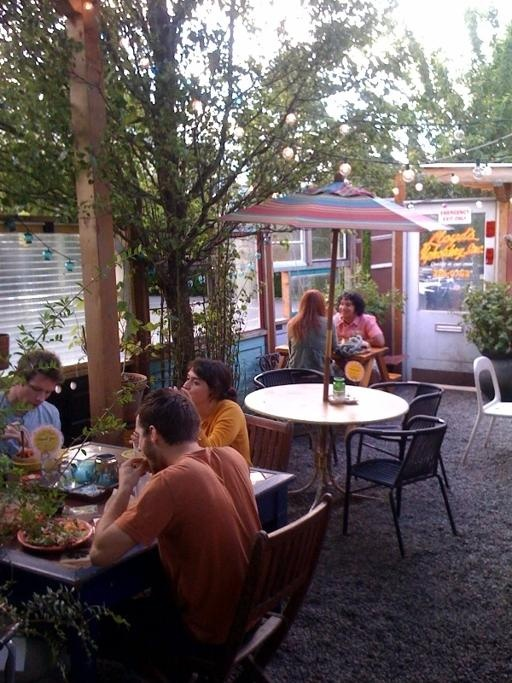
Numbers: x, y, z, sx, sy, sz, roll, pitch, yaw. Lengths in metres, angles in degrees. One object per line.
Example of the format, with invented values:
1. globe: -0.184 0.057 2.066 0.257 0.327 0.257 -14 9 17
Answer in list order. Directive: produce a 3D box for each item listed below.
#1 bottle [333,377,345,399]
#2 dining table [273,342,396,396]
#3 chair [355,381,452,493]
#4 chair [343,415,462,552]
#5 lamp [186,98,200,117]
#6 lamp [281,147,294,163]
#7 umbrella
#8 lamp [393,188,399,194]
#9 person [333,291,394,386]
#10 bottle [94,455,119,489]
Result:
1. bottle: 0.612 0.353 3.704 0.120 0.188 0.121 0 -1 0
2. dining table: 1.232 0.251 6.005 0.859 0.561 0.653 3 4 31
3. chair: 1.195 0.951 3.968 0.738 0.921 0.594 -17 23 -36
4. chair: 0.933 0.896 3.262 0.713 0.783 0.743 1 4 4
5. lamp: -0.392 -1.458 3.133 0.025 0.093 0.088 3 -11 -38
6. lamp: 0.213 -1.318 3.494 0.115 0.122 0.028 0 9 -28
7. umbrella: 0.543 -0.318 3.592 1.303 1.479 1.459 6 12 31
8. lamp: 1.810 -1.946 6.486 0.046 0.090 0.088 4 -7 14
9. person: 1.162 0.031 6.041 0.607 1.277 0.697 -1 9 43
10. bottle: -0.557 0.493 1.944 0.094 0.125 0.097 3 7 0
